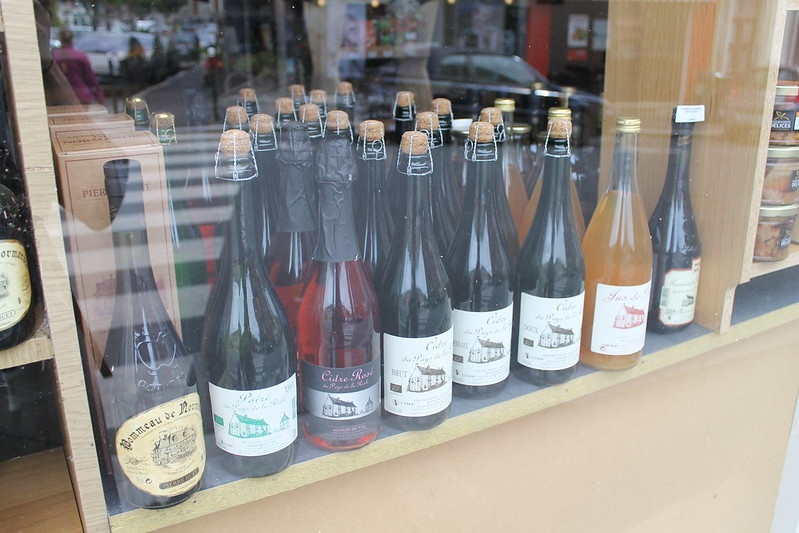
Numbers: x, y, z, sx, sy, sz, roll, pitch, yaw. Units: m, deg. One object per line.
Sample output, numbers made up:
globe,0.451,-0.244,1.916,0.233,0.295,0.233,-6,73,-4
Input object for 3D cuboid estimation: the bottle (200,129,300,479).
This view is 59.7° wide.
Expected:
bottle,-0.242,0.066,1.062,0.147,0.532,0.129,-8,19,-10

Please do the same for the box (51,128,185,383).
box,-0.418,-0.025,1.059,0.157,0.315,0.077,-11,20,-18

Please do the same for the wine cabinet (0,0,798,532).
wine cabinet,0.038,0.034,1.253,1.073,1.048,0.559,-7,22,-18
